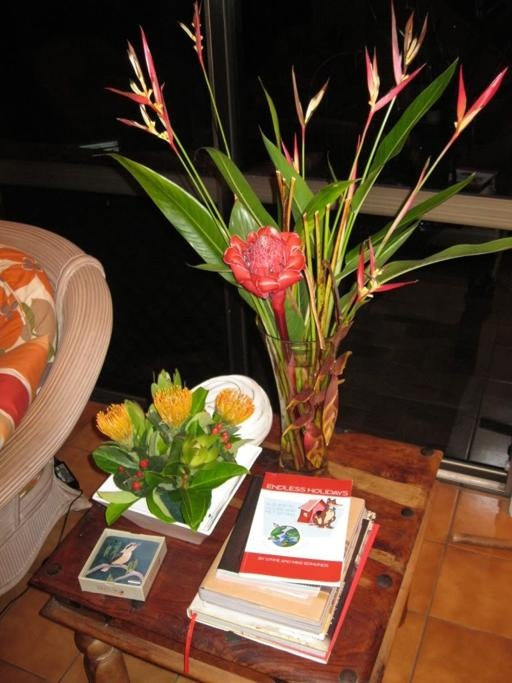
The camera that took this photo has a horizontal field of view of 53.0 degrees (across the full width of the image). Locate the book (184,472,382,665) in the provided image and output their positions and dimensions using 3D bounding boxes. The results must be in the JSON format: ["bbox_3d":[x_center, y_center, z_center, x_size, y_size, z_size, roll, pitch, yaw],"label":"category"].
[{"bbox_3d":[0.048,0.368,0.809,0.223,0.220,0.284,14,13,20],"label":"book"}]

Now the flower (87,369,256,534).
[{"bbox_3d":[-0.108,0.183,0.812,0.278,0.163,0.291,-7,11,1],"label":"flower"}]

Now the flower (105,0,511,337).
[{"bbox_3d":[0.154,-0.444,1.195,0.612,0.661,0.665,6,40,10],"label":"flower"}]
